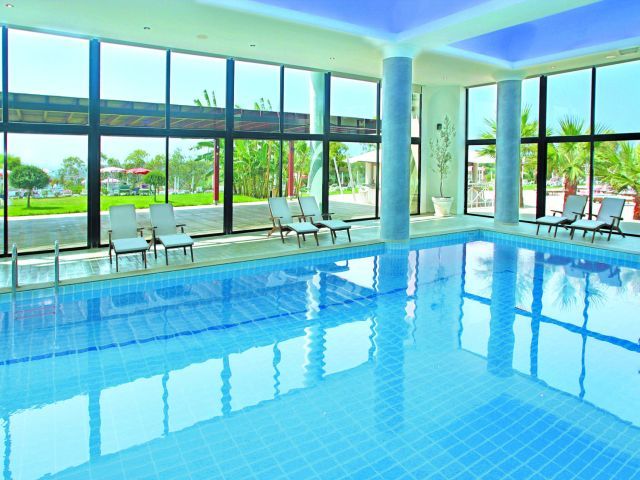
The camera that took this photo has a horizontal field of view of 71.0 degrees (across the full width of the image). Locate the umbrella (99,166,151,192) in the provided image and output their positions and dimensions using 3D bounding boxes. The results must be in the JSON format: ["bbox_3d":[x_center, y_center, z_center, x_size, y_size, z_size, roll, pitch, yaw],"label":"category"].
[{"bbox_3d":[-4.799,-1.504,10.779,0.723,0.382,0.694,-13,22,-37],"label":"umbrella"}]

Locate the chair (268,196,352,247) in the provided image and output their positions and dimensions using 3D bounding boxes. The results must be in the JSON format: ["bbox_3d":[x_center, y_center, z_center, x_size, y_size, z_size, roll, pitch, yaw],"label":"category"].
[{"bbox_3d":[-0.555,-0.499,11.707,1.480,0.843,1.823,-3,9,-32],"label":"chair"}]

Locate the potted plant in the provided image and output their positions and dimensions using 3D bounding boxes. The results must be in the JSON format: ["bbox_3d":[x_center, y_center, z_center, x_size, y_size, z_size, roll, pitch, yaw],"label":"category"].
[{"bbox_3d":[4.504,-2.754,16.715,0.922,3.684,0.883,1,14,14],"label":"potted plant"}]

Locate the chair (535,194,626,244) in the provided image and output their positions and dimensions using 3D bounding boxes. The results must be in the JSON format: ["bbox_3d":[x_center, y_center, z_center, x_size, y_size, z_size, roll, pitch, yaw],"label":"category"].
[{"bbox_3d":[7.234,-0.600,12.432,1.807,1.111,2.130,5,14,29],"label":"chair"}]
